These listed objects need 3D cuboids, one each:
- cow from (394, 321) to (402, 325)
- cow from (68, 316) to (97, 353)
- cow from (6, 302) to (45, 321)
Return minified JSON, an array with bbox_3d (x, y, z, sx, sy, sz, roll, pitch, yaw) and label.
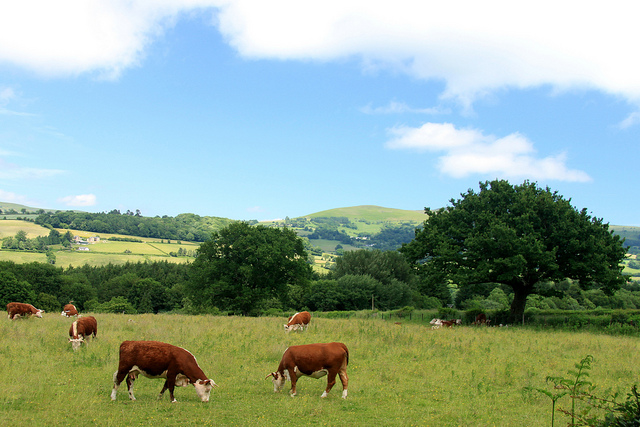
[{"bbox_3d":[8.571,11.948,59.887,0.933,0.474,0.238,-1,4,-17],"label":"cow"},{"bbox_3d":[-18.217,9.007,41.731,1.250,2.138,4.162,-3,11,-12],"label":"cow"},{"bbox_3d":[-27.932,9.222,52.199,2.856,1.298,2.919,1,-1,-28],"label":"cow"}]
